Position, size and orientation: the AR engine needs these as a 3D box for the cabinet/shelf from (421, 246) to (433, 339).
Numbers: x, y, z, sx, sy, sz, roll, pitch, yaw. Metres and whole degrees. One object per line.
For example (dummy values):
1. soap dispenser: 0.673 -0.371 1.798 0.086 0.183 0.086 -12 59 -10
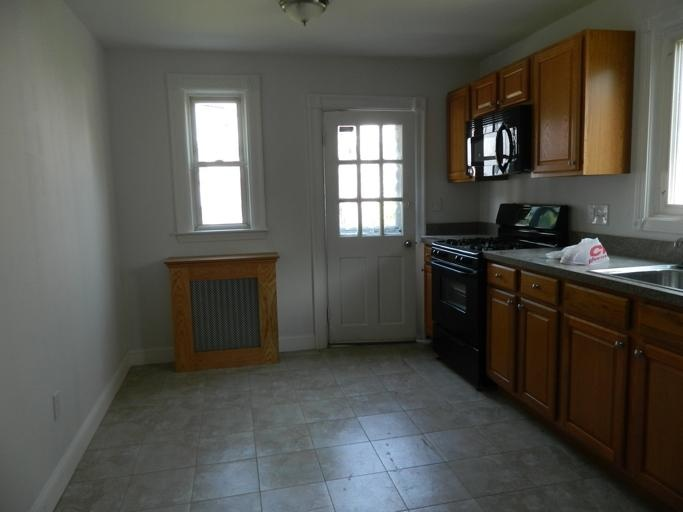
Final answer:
1. cabinet/shelf: 0.831 0.348 4.773 0.071 0.970 0.303 -1 12 3

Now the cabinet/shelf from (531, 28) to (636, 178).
1. cabinet/shelf: 1.617 -1.009 3.381 0.640 0.927 0.411 3 13 20
